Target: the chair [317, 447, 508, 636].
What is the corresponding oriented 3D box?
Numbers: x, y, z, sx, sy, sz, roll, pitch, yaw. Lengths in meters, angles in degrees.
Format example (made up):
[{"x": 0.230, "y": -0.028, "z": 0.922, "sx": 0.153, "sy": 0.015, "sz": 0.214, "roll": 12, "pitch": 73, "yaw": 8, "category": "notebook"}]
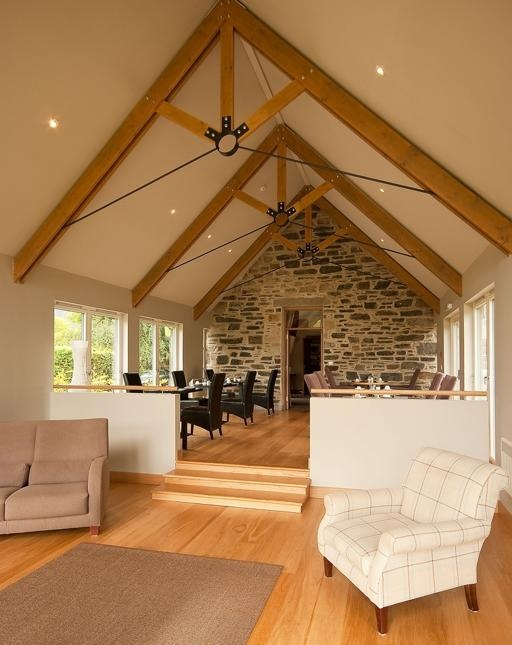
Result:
[{"x": 0.877, "y": 1.173, "z": 2.826, "sx": 0.816, "sy": 0.805, "sz": 0.721, "roll": 1, "pitch": -1, "yaw": -17, "category": "chair"}]
